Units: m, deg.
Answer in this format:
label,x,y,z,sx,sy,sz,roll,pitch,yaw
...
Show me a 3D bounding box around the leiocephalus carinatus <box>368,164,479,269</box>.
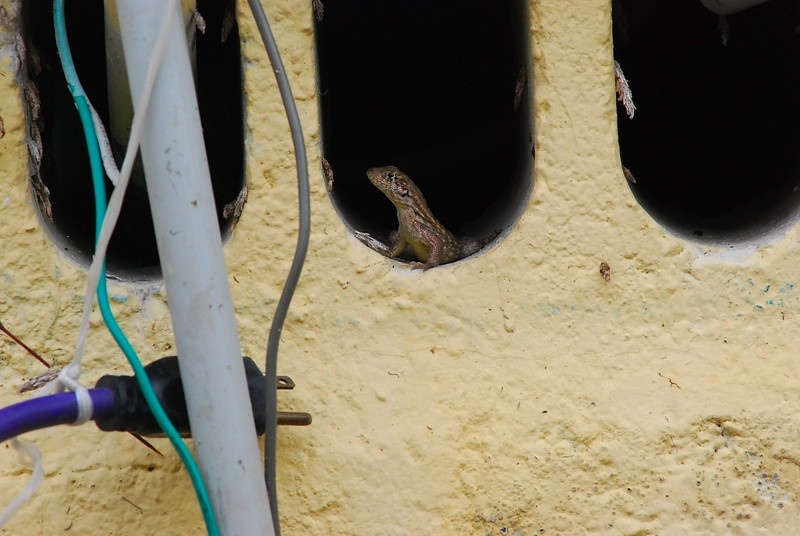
label,x,y,z,sx,sy,sz,roll,pitch,yaw
leiocephalus carinatus,0.109,-0.223,6.647,0.609,0.421,0.327,-5,11,-40
